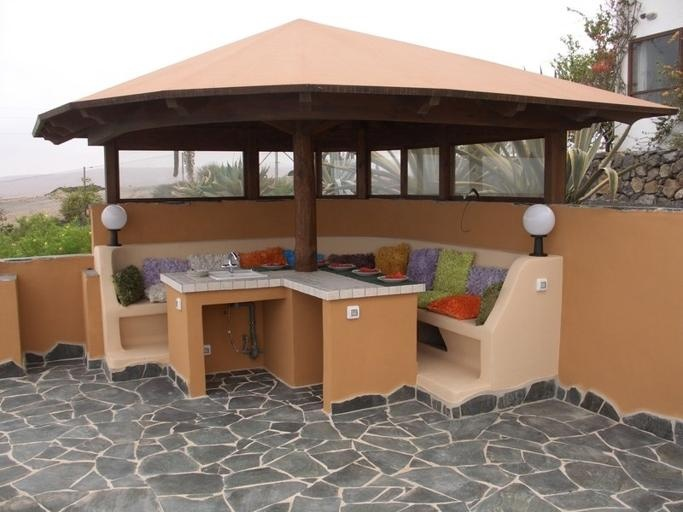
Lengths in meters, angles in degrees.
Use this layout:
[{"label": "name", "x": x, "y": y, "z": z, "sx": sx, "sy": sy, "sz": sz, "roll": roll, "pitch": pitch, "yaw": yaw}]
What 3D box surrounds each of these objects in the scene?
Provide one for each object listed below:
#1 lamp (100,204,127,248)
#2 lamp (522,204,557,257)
[{"label": "lamp", "x": -3.212, "y": -0.435, "z": 6.930, "sx": 0.352, "sy": 0.570, "sz": 0.364, "roll": -1, "pitch": 0, "yaw": 7}, {"label": "lamp", "x": 2.239, "y": -0.296, "z": 5.554, "sx": 0.305, "sy": 0.568, "sz": 0.406, "roll": 4, "pitch": 8, "yaw": 30}]
